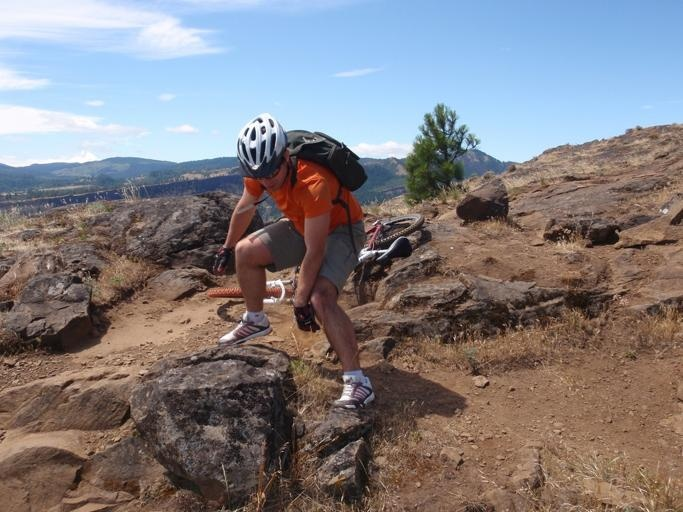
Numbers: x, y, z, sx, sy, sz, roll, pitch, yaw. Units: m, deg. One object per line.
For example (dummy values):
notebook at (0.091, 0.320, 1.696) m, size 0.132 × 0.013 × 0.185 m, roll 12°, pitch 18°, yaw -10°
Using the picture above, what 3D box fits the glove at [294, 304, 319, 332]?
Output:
glove at (-0.393, 0.687, 5.404) m, size 0.253 × 0.316 × 0.129 m, roll -5°, pitch 20°, yaw 8°
